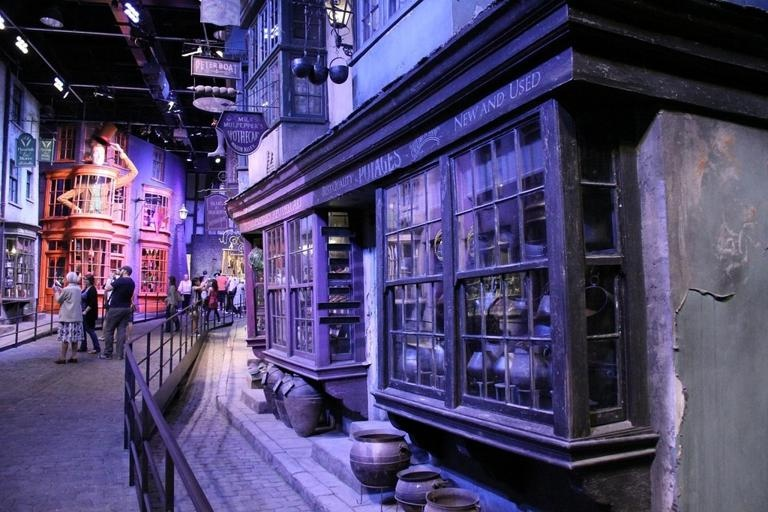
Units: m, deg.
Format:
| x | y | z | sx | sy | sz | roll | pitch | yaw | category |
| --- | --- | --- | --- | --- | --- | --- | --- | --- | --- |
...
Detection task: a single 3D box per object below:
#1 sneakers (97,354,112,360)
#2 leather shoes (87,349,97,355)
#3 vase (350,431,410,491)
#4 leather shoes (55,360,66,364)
| x | y | z | sx | sy | sz | roll | pitch | yaw | category |
| --- | --- | --- | --- | --- | --- | --- | --- | --- | --- |
| -6.395 | 2.289 | 14.115 | 0.368 | 0.175 | 0.139 | 7 | 3 | 29 | sneakers |
| -7.066 | 2.335 | 14.985 | 0.151 | 0.090 | 0.280 | 2 | -7 | -7 | leather shoes |
| -0.075 | 2.411 | 7.512 | 0.652 | 0.537 | 0.627 | 0 | -10 | -1 | vase |
| -6.967 | 2.265 | 13.275 | 0.244 | 0.113 | 0.094 | 1 | 0 | 21 | leather shoes |
